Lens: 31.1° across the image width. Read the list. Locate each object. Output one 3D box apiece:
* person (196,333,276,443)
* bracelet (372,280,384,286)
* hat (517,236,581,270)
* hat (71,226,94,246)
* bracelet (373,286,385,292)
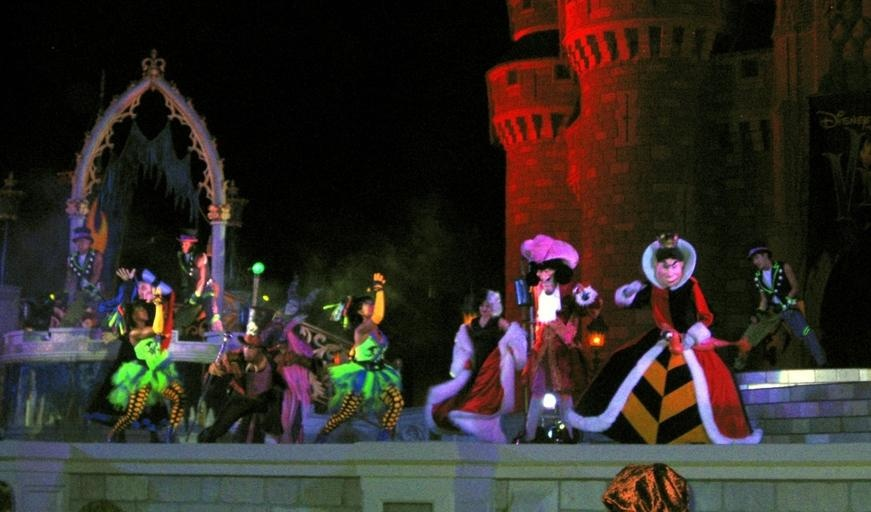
[{"bbox_3d":[-3.699,2.523,30.078,1.291,2.016,0.557,-1,-10,-7],"label":"person"},{"bbox_3d":[-1.120,0.549,31.346,0.136,0.124,0.038,4,-46,-6],"label":"bracelet"},{"bbox_3d":[2.314,-0.165,30.281,0.837,0.404,0.749,25,-25,-37],"label":"hat"},{"bbox_3d":[-7.957,-0.447,35.432,0.436,0.202,0.417,2,-7,-24],"label":"hat"},{"bbox_3d":[-1.127,0.663,31.362,0.157,0.087,0.192,0,3,-1],"label":"bracelet"}]
